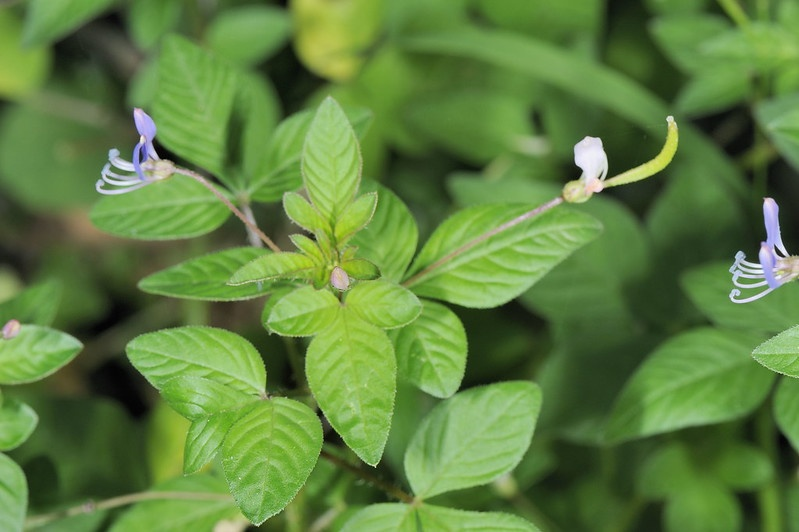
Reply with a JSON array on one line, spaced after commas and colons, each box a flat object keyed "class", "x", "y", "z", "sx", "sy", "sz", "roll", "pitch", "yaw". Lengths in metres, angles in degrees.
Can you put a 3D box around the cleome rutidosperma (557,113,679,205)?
[{"class": "cleome rutidosperma", "x": 0.513, "y": -0.243, "z": 1.739, "sx": 0.302, "sy": 0.130, "sz": 0.097, "roll": -27, "pitch": 47, "yaw": 8}]
